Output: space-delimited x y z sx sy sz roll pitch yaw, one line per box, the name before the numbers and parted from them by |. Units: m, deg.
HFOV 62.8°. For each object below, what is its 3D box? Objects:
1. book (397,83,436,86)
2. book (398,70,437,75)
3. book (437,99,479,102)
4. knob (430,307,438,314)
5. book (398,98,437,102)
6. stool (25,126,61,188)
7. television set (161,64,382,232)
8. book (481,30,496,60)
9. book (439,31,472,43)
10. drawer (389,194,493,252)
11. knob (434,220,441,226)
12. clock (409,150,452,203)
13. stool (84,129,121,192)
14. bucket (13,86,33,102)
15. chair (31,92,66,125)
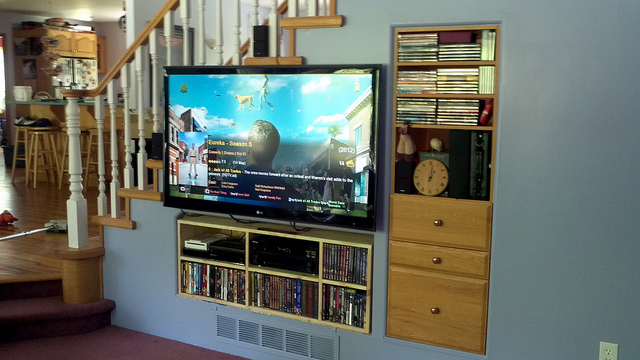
book | 0.885 -0.813 4.482 0.204 0.033 0.021 4 -26 17
book | 0.844 -0.934 4.530 0.327 0.046 0.181 3 7 7
book | 1.170 -0.671 4.432 0.319 0.033 0.090 5 7 23
knob | 0.986 1.123 4.524 0.043 0.040 0.044 -7 33 -39
book | 0.833 -0.686 4.493 0.316 0.042 0.042 4 7 16
stool | -4.552 -0.401 8.600 0.485 0.974 0.705 -1 8 -29
television set | -0.365 -0.335 4.744 1.872 1.046 0.041 4 6 13
book | 1.367 -1.134 4.401 0.160 0.217 0.141 0 3 -8
book | 1.141 -1.194 4.381 0.178 0.066 0.114 2 10 12
drawer | 1.051 0.356 4.470 0.855 0.338 0.509 3 4 22
knob | 1.001 0.359 4.465 0.045 0.041 0.048 33 20 31
clock | 1.062 -0.023 4.570 0.322 0.430 0.352 2 0 -28
stool | -3.471 -0.399 8.385 0.560 0.777 0.593 4 2 37
bucket | -5.106 -1.477 9.009 0.244 0.274 0.857 -1 8 -30
chair | -4.475 -1.158 8.644 0.757 0.425 0.404 26 36 31
